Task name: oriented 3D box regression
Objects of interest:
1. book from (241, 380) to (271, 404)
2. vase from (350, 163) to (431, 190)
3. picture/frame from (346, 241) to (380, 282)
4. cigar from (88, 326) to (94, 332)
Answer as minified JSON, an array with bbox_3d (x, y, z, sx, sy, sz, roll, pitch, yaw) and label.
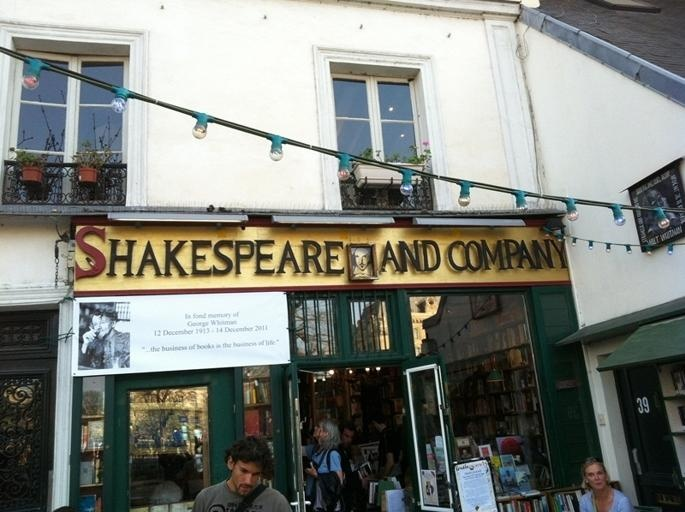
[{"bbox_3d":[-1.063,1.725,7.975,0.370,0.377,0.273,-2,-8,7],"label":"book"},{"bbox_3d":[0.676,-1.184,8.982,0.986,0.329,0.232,0,-17,-14],"label":"vase"},{"bbox_3d":[0.283,0.093,8.518,0.480,0.582,0.151,4,-23,-20],"label":"picture/frame"},{"bbox_3d":[-3.028,0.891,7.518,0.064,0.065,0.037,0,-2,1],"label":"cigar"}]
